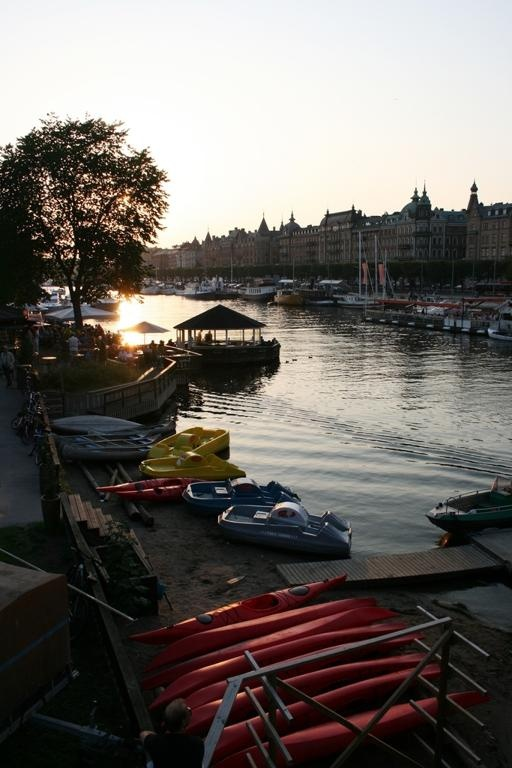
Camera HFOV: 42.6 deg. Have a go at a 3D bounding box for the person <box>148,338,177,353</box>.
[{"bbox_3d":[-6.437,-2.312,43.410,1.519,0.717,2.030,-1,4,-4],"label":"person"}]

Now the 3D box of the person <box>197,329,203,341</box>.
[{"bbox_3d":[-4.525,-3.665,52.504,0.406,0.820,1.215,-3,6,2],"label":"person"}]
